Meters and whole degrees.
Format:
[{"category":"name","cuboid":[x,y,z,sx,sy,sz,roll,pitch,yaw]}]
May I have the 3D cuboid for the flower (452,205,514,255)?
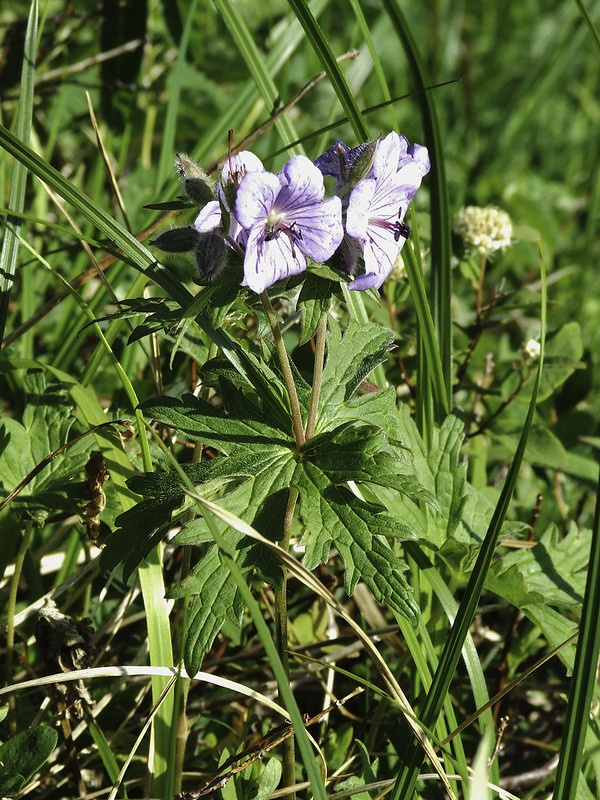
[{"category":"flower","cuboid":[0.620,-0.581,2.654,0.136,0.109,0.217,-17,56,-5]}]
